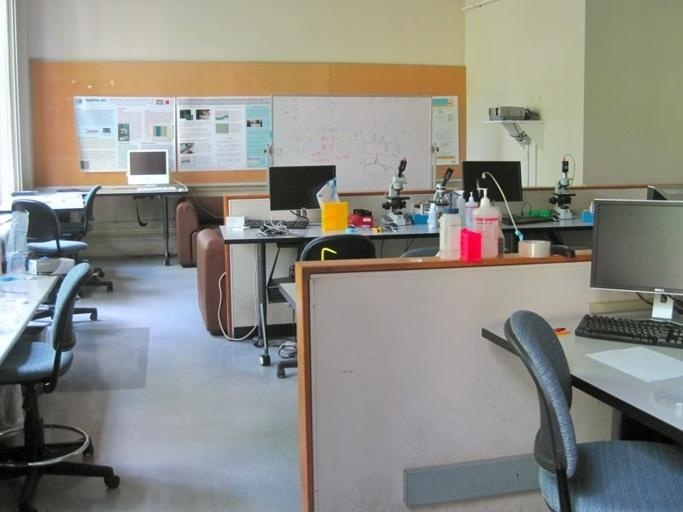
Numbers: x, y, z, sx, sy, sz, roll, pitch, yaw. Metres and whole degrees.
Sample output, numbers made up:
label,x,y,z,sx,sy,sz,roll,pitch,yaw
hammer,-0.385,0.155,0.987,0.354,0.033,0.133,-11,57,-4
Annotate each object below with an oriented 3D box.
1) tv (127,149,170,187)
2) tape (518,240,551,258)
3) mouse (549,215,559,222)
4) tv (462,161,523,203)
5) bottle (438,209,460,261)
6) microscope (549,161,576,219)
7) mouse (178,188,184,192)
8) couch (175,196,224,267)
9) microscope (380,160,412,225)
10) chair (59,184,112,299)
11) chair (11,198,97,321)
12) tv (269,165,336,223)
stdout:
label,x,y,z,sx,sy,sz,roll,pitch,yaw
tv,-2.519,-1.149,7.478,0.475,0.482,0.157,0,2,-10
tape,0.821,-0.034,2.458,0.087,0.042,0.086,-4,6,-36
mouse,1.834,-0.315,4.930,0.067,0.070,0.068,9,-2,6
tv,1.322,-0.625,4.925,0.701,0.369,0.141,-6,13,-27
bottle,0.456,-0.084,2.384,0.089,0.182,0.123,2,12,10
microscope,1.982,-0.581,5.110,0.211,0.457,0.429,5,13,21
mouse,-2.115,-0.875,7.523,0.075,0.023,0.534,-3,13,-15
couch,-1.892,-0.393,7.401,0.662,1.071,0.757,1,11,-10
microscope,0.489,-0.503,4.784,0.241,0.570,0.245,0,12,-13
chair,-2.706,-0.209,6.052,0.545,1.293,0.549,-1,12,-18
chair,-2.890,-0.178,5.482,0.763,1.360,0.752,20,13,31
tv,-0.318,-0.504,4.611,0.525,0.430,0.067,0,5,3
